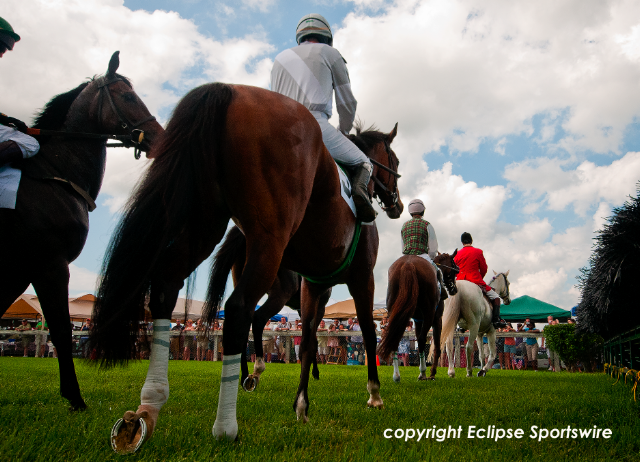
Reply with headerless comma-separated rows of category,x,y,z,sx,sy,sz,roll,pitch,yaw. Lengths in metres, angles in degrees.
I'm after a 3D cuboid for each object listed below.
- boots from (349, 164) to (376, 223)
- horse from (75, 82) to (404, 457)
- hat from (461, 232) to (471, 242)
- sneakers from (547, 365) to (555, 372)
boots,0.457,-0.436,5.019,0.282,0.774,0.179,25,-45,-28
horse,-0.480,0.381,4.387,1.348,2.910,2.637,-10,-20,36
hat,3.400,0.139,10.904,0.200,0.262,0.248,5,-35,7
sneakers,7.743,4.563,15.751,0.187,0.151,0.701,-5,-18,22
